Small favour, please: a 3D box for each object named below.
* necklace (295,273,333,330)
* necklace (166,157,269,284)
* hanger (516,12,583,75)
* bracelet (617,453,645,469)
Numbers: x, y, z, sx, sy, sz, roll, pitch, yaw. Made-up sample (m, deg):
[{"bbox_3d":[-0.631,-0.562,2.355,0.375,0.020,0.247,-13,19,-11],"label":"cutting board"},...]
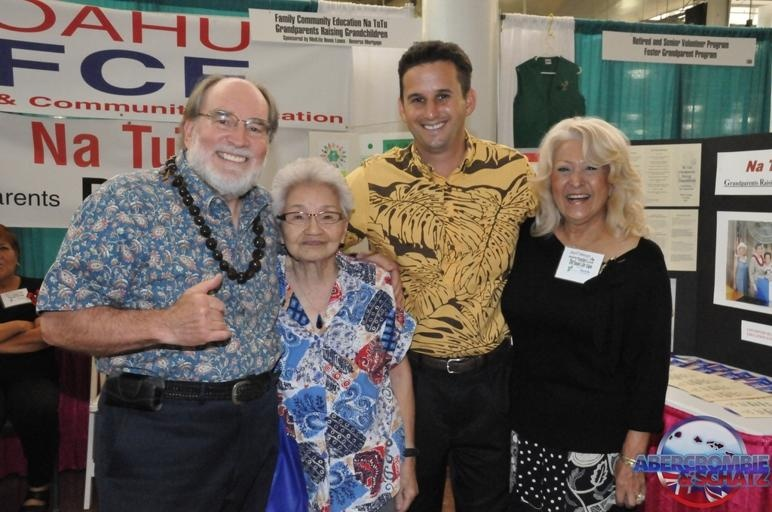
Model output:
[{"bbox_3d":[-0.394,0.253,3.582,0.129,0.313,0.096,-7,-8,30],"label":"necklace"},{"bbox_3d":[-0.971,-0.112,3.440,0.094,0.642,0.515,-24,15,29],"label":"necklace"},{"bbox_3d":[1.328,-1.844,5.896,0.532,0.416,0.055,10,18,31],"label":"hanger"},{"bbox_3d":[1.313,1.102,3.600,0.109,0.066,0.035,-5,-3,39],"label":"bracelet"}]
